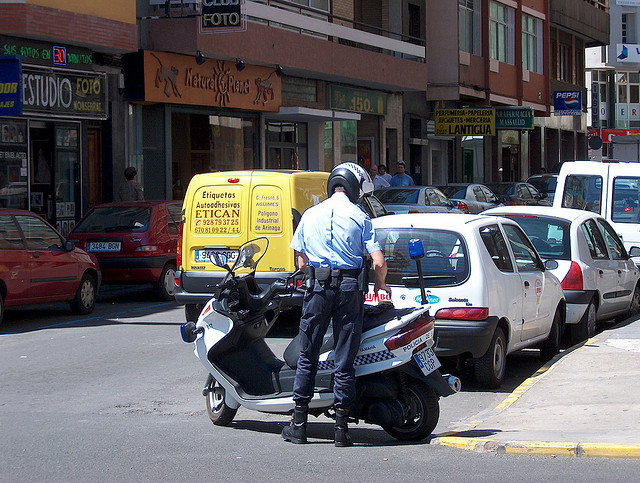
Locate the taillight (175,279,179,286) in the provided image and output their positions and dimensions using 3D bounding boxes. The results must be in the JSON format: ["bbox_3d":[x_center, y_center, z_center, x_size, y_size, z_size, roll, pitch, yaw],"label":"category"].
[{"bbox_3d":[-2.115,0.602,11.433,0.069,0.103,0.018,2,4,44],"label":"taillight"}]

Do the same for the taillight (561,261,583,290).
[{"bbox_3d":[3.460,0.471,10.641,0.278,0.370,0.140,0,3,21],"label":"taillight"}]

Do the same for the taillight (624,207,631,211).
[{"bbox_3d":[5.548,-0.595,13.971,0.106,0.068,0.023,1,3,32],"label":"taillight"}]

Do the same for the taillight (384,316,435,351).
[{"bbox_3d":[0.766,0.758,6.448,0.157,0.242,0.559,2,4,45],"label":"taillight"}]

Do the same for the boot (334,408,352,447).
[{"bbox_3d":[0.189,1.521,6.422,0.140,0.334,0.235,-1,3,1],"label":"boot"}]

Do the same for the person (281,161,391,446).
[{"bbox_3d":[0.111,0.532,6.513,0.843,2.378,0.583,-1,3,-4],"label":"person"}]

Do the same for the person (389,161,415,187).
[{"bbox_3d":[2.468,-2.093,23.864,0.676,0.748,2.404,-1,3,5],"label":"person"}]

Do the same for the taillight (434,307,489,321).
[{"bbox_3d":[1.515,0.779,8.298,0.566,0.129,0.119,-1,3,9],"label":"taillight"}]

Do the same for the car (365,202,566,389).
[{"bbox_3d":[1.835,0.531,9.135,1.388,1.445,2.530,0,9,26],"label":"car"}]

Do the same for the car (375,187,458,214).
[{"bbox_3d":[2.485,-1.065,20.605,1.047,0.925,2.455,4,7,31],"label":"car"}]

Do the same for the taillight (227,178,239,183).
[{"bbox_3d":[-1.262,-0.892,11.217,0.175,0.067,0.018,1,3,27],"label":"taillight"}]

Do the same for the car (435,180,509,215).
[{"bbox_3d":[4.836,-1.467,24.999,1.353,1.019,2.601,5,7,37],"label":"car"}]

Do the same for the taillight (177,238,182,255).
[{"bbox_3d":[-2.084,0.059,11.478,0.028,0.224,0.138,-2,3,-29],"label":"taillight"}]

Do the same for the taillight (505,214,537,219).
[{"bbox_3d":[2.893,-0.362,11.128,0.425,0.067,0.107,1,4,33],"label":"taillight"}]

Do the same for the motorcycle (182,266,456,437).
[{"bbox_3d":[-0.118,0.870,6.920,2.477,1.756,1.126,-1,1,22],"label":"motorcycle"}]

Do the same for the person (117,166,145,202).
[{"bbox_3d":[-4.692,-1.460,19.212,0.539,0.846,1.154,-2,3,-23],"label":"person"}]
